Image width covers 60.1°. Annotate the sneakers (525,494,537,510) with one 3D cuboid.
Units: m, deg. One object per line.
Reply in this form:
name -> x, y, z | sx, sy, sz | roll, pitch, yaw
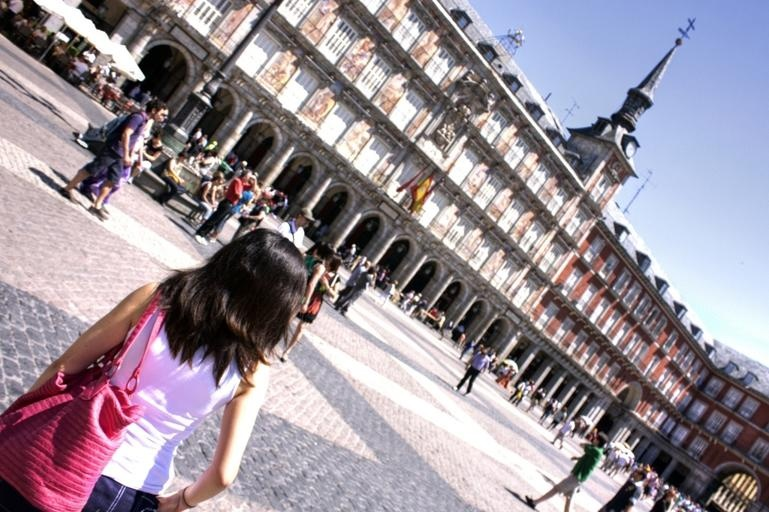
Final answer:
sneakers -> 3.010, 5.064, 13.667 | 0.115, 0.135, 0.400 | 83, -5, -73
